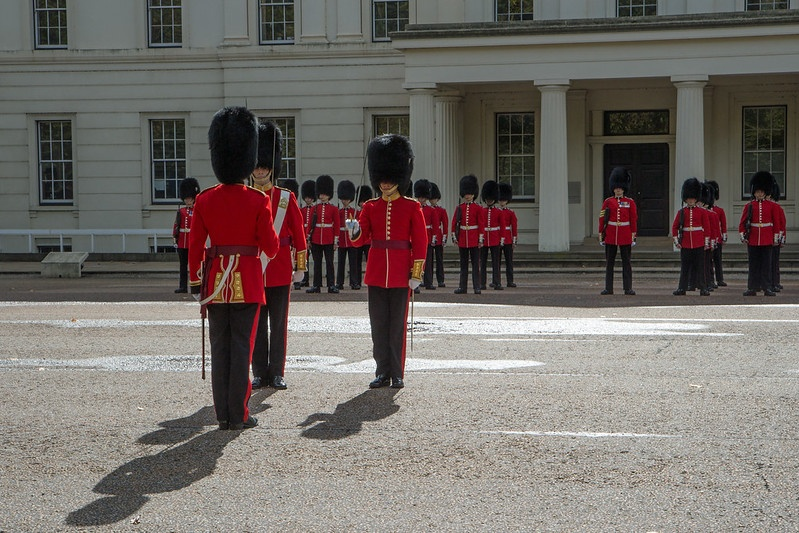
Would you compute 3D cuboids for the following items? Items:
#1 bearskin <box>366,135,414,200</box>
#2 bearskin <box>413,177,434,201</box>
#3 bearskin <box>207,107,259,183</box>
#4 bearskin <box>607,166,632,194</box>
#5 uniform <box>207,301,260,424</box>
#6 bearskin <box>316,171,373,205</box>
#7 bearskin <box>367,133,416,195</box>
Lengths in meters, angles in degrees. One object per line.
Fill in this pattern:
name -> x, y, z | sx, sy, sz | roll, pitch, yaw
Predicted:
bearskin -> -0.125, -1.525, 22.468 | 0.761, 0.787, 0.923 | -1, -3, 0
bearskin -> 0.450, -1.599, 30.649 | 0.366, 0.375, 0.441 | 0, 2, 2
bearskin -> -2.279, -1.693, 20.695 | 0.646, 1.064, 0.502 | -1, 6, -5
bearskin -> 4.337, -1.736, 30.137 | 0.469, 0.468, 0.630 | 1, -7, 10
uniform -> -2.257, 1.295, 20.443 | 0.672, 1.667, 0.461 | -1, 6, -6
bearskin -> -1.186, -1.715, 32.290 | 1.145, 0.557, 1.486 | 0, 29, -3
bearskin -> -0.136, -1.565, 22.038 | 0.773, 0.778, 0.903 | 0, 1, 3
